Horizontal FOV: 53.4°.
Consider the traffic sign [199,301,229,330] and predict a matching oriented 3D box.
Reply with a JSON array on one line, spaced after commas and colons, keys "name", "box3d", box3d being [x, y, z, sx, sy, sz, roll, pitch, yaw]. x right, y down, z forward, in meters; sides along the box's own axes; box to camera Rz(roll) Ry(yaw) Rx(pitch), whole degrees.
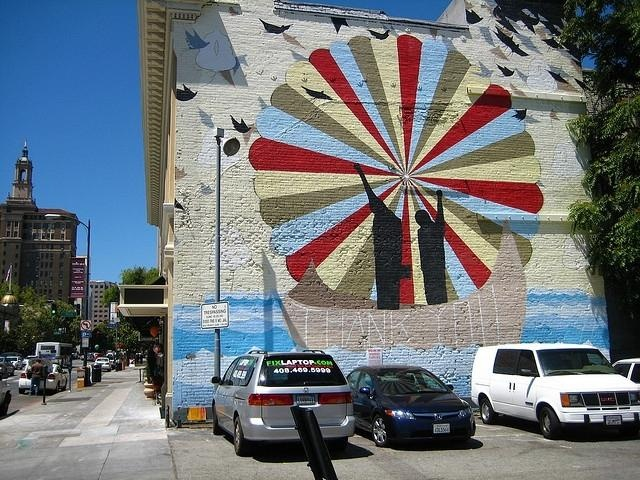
[{"name": "traffic sign", "box3d": [-3.113, 2.241, 18.795, 0.999, 0.718, 0.073, -4, -6, 30]}]
